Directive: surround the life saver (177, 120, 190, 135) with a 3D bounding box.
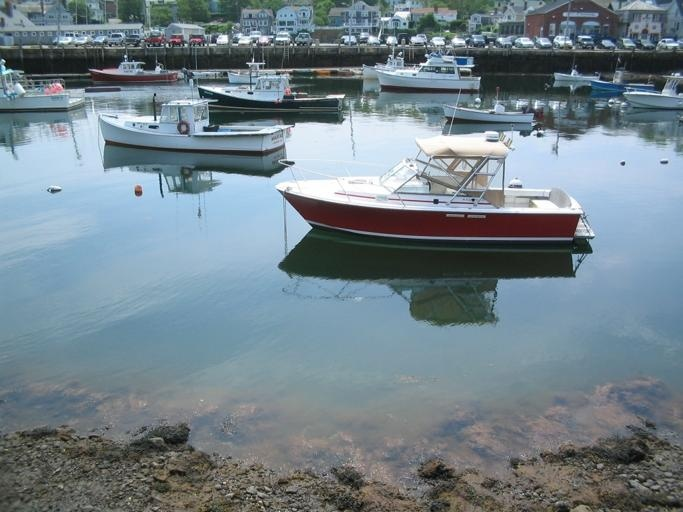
[{"bbox_3d":[-6.663,-5.433,25.760,0.484,0.574,0.097,14,30,10],"label":"life saver"}]
